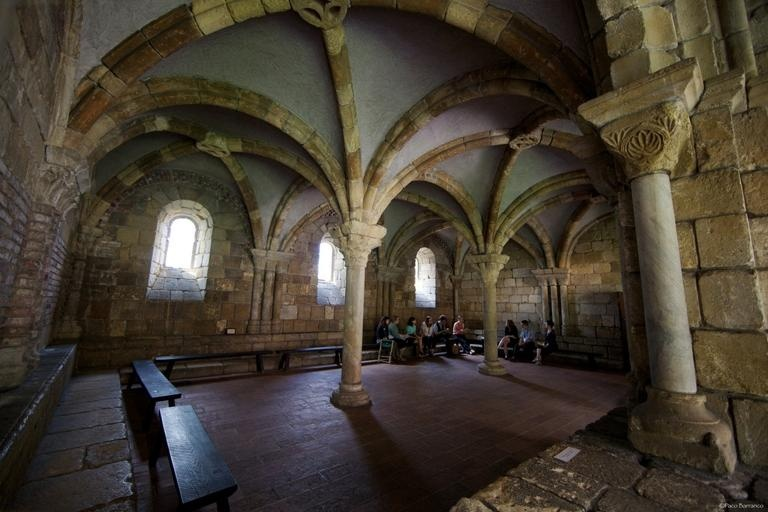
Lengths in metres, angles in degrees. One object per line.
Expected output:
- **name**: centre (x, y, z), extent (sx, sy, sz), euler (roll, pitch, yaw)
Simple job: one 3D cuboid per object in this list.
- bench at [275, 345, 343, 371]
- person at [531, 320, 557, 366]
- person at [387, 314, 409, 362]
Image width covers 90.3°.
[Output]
- **bench**: centre (-1.803, 2.378, 9.064), extent (1.606, 0.544, 0.742), euler (3, 0, -31)
- **person**: centre (4.586, 2.378, 10.813), extent (0.591, 1.252, 1.355), euler (3, 0, 23)
- **person**: centre (0.334, 2.210, 10.382), extent (0.555, 1.184, 0.793), euler (3, 0, 0)
